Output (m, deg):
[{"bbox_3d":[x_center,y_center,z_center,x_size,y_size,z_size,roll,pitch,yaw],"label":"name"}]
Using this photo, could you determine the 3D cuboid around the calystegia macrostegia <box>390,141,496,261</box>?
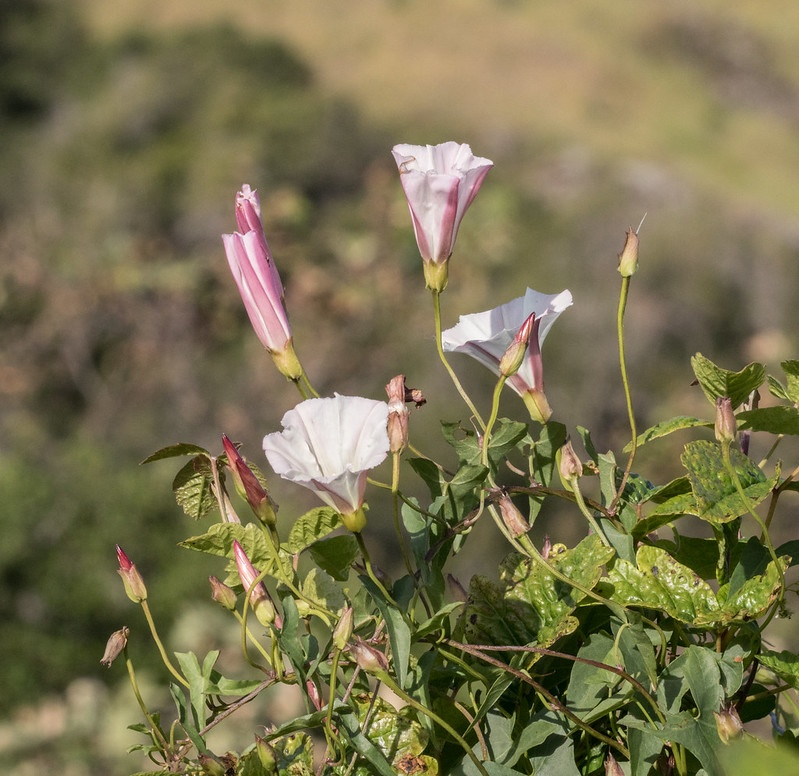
[{"bbox_3d":[0.055,-0.225,2.316,0.127,0.180,0.128,2,24,0],"label":"calystegia macrostegia"}]

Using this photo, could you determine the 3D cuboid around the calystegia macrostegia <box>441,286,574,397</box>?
[{"bbox_3d":[0.147,-0.043,2.304,0.089,0.101,0.062,15,67,-18],"label":"calystegia macrostegia"}]

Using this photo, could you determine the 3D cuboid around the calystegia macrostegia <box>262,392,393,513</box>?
[{"bbox_3d":[-0.087,0.083,2.226,0.139,0.109,0.153,19,52,22],"label":"calystegia macrostegia"}]
